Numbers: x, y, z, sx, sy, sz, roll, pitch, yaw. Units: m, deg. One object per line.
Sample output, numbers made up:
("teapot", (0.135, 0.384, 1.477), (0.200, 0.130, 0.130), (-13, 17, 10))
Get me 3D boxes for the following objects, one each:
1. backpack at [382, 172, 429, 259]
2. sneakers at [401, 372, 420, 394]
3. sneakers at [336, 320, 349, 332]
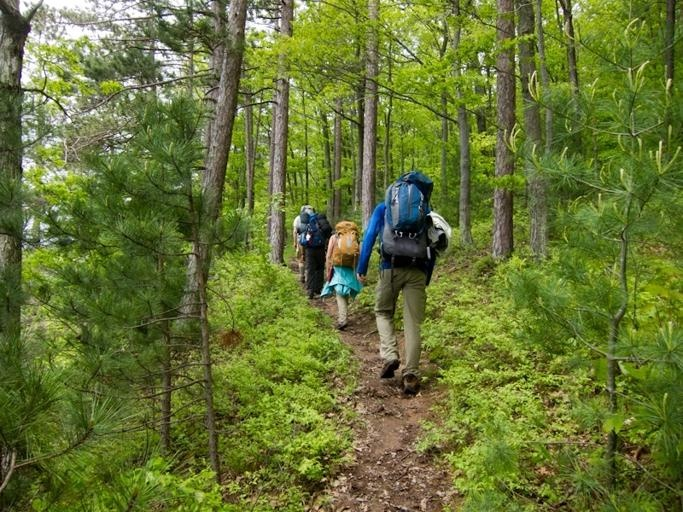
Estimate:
("backpack", (0.886, -0.549, 8.372), (0.667, 1.198, 0.391), (1, 5, 8))
("sneakers", (0.939, 1.709, 8.272), (0.186, 0.302, 0.121), (-1, 0, 16))
("sneakers", (0.017, 1.226, 11.014), (0.232, 0.179, 0.343), (1, 4, -1))
